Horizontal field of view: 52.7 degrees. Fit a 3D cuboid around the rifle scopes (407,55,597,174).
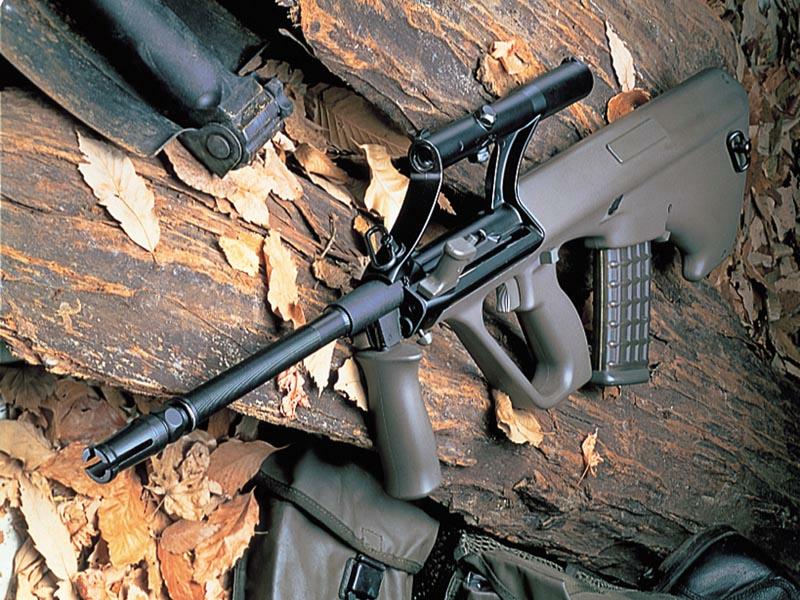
[{"bbox_3d":[0.194,-0.338,1.478,0.429,0.191,0.044,-15,2,-30],"label":"rifle scopes"}]
